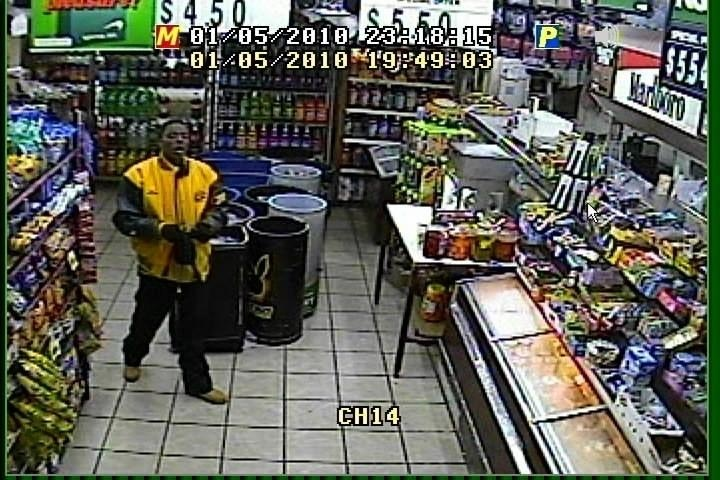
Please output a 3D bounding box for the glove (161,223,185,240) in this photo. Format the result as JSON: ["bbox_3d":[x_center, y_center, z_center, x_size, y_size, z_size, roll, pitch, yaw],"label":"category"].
[{"bbox_3d":[-1.519,-0.066,4.268,0.139,0.127,0.031,4,13,-8],"label":"glove"}]

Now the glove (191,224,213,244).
[{"bbox_3d":[-1.284,-0.061,4.359,0.147,0.122,0.147,31,40,28],"label":"glove"}]

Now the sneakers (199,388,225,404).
[{"bbox_3d":[-1.297,1.373,4.707,0.230,0.088,0.104,-1,48,0],"label":"sneakers"}]
